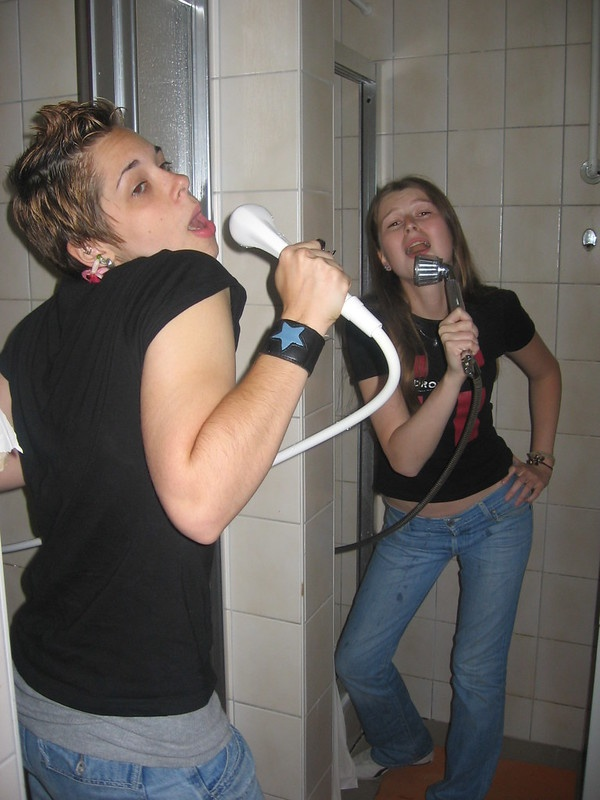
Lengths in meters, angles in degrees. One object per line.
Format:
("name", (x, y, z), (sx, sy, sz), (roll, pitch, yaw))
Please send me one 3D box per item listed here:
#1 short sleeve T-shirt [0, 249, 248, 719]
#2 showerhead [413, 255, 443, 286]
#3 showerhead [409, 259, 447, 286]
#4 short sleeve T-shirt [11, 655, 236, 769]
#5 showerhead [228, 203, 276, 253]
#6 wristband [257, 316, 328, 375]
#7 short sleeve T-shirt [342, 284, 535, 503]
("short sleeve T-shirt", (-0.236, 0.088, 0.779), (0.336, 0.494, 0.155), (7, 16, 27))
("showerhead", (0.241, -0.240, 1.321), (0.061, 0.058, 0.045), (1, -1, 15))
("showerhead", (0.239, -0.244, 1.330), (0.064, 0.041, 0.033), (6, 5, -3))
("short sleeve T-shirt", (-0.193, 0.349, 0.778), (0.147, 0.038, 0.108), (11, 19, 19))
("showerhead", (-0.062, -0.218, 0.947), (0.047, 0.033, 0.078), (-22, -27, 22))
("wristband", (-0.004, -0.052, 0.675), (0.061, 0.045, 0.065), (21, 1, 5))
("short sleeve T-shirt", (0.387, -0.030, 1.832), (0.631, 0.547, 0.330), (-5, 24, -37))
